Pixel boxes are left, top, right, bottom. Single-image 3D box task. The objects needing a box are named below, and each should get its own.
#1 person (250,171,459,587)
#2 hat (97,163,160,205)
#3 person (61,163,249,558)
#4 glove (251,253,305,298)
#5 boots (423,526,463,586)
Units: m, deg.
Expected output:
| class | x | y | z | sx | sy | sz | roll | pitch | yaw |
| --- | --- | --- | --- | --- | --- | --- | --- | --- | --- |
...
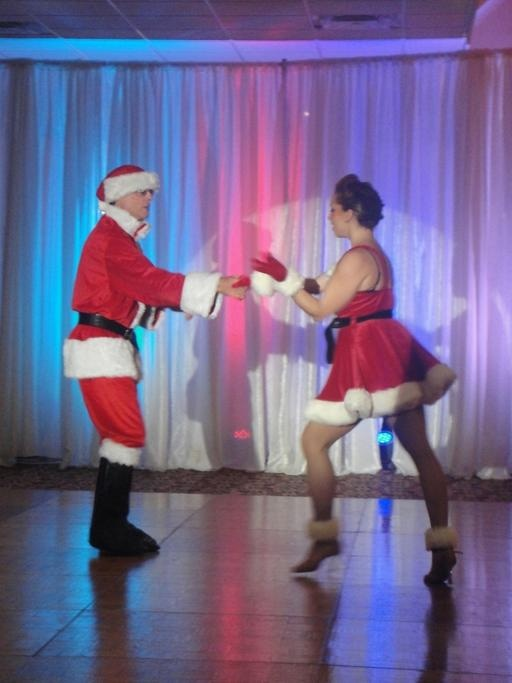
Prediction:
| class | x | y | z | sx | sy | sz | roll | pitch | yaw |
| --- | --- | --- | --- | --- | --- | --- | --- | --- | --- |
| person | 0.315 | 0.088 | 2.382 | 0.588 | 1.235 | 0.394 | 0 | 0 | 12 |
| hat | -0.457 | -0.559 | 2.790 | 0.205 | 0.109 | 0.138 | -12 | 5 | 9 |
| person | -0.367 | 0.041 | 2.634 | 0.638 | 1.350 | 0.305 | 0 | 1 | 32 |
| glove | 0.037 | -0.199 | 2.319 | 0.149 | 0.125 | 0.175 | 0 | 0 | -31 |
| boots | 0.528 | 0.618 | 2.257 | 0.116 | 0.172 | 0.192 | -4 | -3 | 21 |
